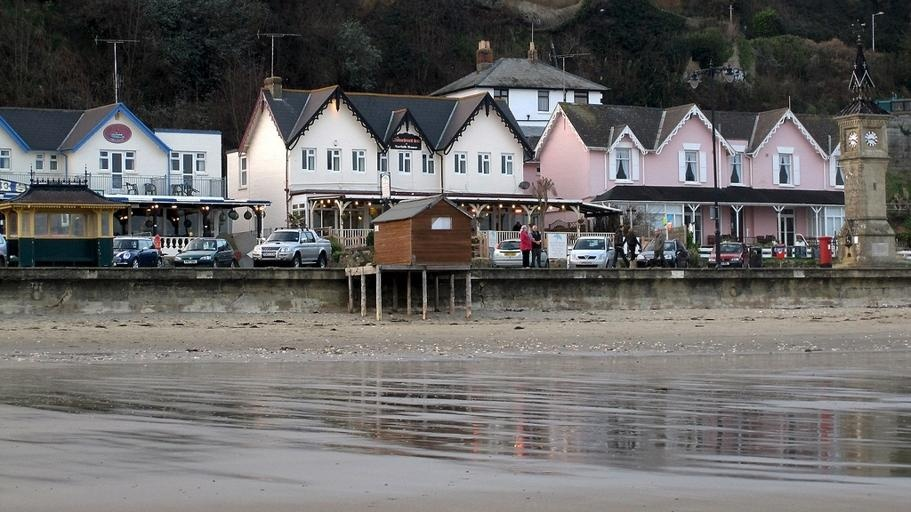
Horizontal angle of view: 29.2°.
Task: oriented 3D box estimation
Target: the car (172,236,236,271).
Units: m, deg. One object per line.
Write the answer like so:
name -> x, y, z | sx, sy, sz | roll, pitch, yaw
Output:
car -> -17.274, -0.093, 121.606 | 4.428, 2.031, 2.439 | 0, -2, -37

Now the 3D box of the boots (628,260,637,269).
boots -> 12.636, 0.774, 124.019 | 0.592, 0.560, 0.584 | 0, -1, -5

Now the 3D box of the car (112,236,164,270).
car -> -22.034, -0.120, 121.700 | 1.977, 1.229, 2.789 | -2, -5, 25

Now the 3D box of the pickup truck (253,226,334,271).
pickup truck -> -11.042, -0.349, 122.660 | 2.792, 2.060, 4.371 | -3, -5, 33
